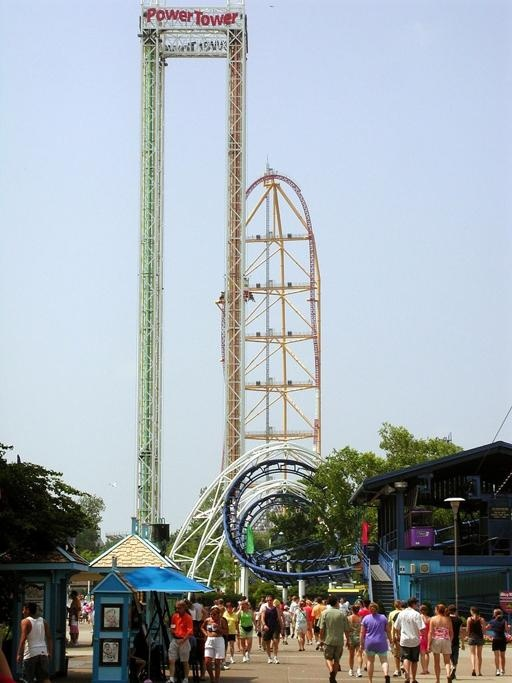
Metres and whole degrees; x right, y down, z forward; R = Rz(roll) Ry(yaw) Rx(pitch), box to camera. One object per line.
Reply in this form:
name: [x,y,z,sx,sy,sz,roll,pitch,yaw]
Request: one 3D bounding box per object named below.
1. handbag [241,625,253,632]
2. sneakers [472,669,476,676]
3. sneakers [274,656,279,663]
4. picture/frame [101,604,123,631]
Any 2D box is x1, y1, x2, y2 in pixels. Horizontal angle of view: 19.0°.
handbag: [-0.226,5.769,30.697,0.146,0.120,0.156,0,1,13]
sneakers: [3.802,5.749,26.606,0.079,0.087,0.145,-7,-9,3]
sneakers: [0.374,6.226,29.845,0.059,0.139,0.183,3,-29,-15]
picture/frame: [-2.332,4.394,24.298,0.388,0.550,0.057,0,-7,-4]
